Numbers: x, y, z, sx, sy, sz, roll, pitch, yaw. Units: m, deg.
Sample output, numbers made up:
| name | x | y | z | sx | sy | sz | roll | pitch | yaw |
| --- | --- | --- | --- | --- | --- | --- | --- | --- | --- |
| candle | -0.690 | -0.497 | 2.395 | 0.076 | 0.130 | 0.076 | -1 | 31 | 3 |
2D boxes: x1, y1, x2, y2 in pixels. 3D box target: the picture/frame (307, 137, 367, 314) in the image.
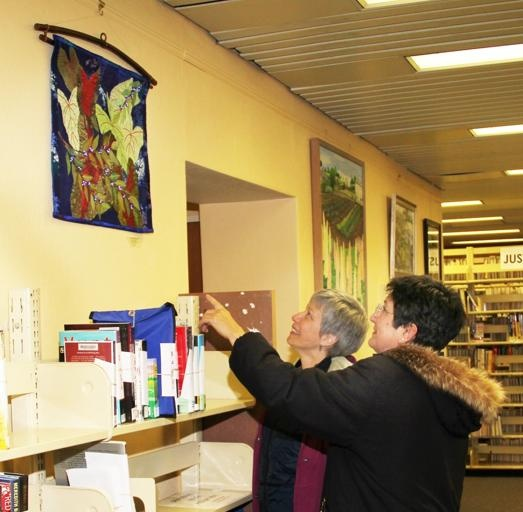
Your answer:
| name | x | y | z | sx | sy | sz | roll | pitch | yaw |
| --- | --- | --- | --- | --- | --- | --- | --- | --- | --- |
| picture/frame | 0.751 | -0.124 | 5.077 | 0.047 | 1.659 | 1.456 | 1 | 2 | 27 |

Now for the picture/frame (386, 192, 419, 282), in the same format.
| name | x | y | z | sx | sy | sz | roll | pitch | yaw |
| --- | --- | --- | --- | --- | --- | --- | --- | --- | --- |
| picture/frame | 1.679 | -0.211 | 6.602 | 0.251 | 0.916 | 1.119 | -2 | -5 | 20 |

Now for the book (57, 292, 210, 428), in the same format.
| name | x | y | z | sx | sy | sz | roll | pitch | yaw |
| --- | --- | --- | --- | --- | --- | --- | --- | --- | --- |
| book | -0.444 | 0.279 | 1.975 | 0.483 | 0.510 | 0.386 | -3 | -1 | 29 |

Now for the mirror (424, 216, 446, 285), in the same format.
| name | x | y | z | sx | sy | sz | roll | pitch | yaw |
| --- | --- | --- | --- | --- | --- | --- | --- | --- | --- |
| mirror | 2.256 | -0.103 | 7.241 | 0.052 | 1.276 | 1.090 | -3 | -3 | 25 |
